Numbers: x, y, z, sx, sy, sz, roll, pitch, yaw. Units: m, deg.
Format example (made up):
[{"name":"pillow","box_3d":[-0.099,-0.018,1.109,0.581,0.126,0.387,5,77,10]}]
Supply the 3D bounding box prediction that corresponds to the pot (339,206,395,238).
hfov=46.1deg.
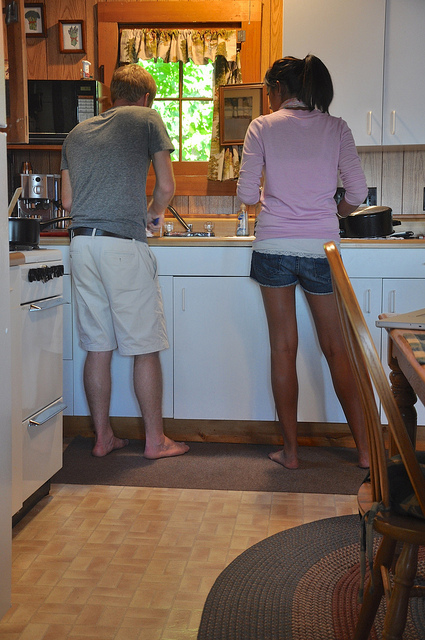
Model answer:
[{"name":"pot","box_3d":[0.740,-0.456,2.403,0.258,0.166,0.228,0,9,-7]}]

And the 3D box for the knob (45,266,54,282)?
[{"name":"knob","box_3d":[-0.530,-0.153,1.626,0.014,0.039,0.031,18,12,41]}]

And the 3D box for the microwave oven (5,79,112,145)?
[{"name":"microwave oven","box_3d":[-0.873,-1.278,3.013,0.468,0.420,0.206,0,2,5]}]

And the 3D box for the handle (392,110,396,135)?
[{"name":"handle","box_3d":[0.996,-1.095,2.768,0.016,0.119,0.028,0,1,17]}]

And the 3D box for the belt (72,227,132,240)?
[{"name":"belt","box_3d":[-0.454,-0.351,2.009,0.253,0.051,0.052,0,2,11]}]

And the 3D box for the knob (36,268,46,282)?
[{"name":"knob","box_3d":[-0.532,-0.143,1.549,0.025,0.042,0.010,4,-7,-10]}]

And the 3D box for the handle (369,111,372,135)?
[{"name":"handle","box_3d":[0.874,-1.102,2.787,0.016,0.116,0.016,0,1,6]}]

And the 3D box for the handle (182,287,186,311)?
[{"name":"handle","box_3d":[-0.139,-0.098,2.326,0.009,0.105,0.009,0,1,12]}]

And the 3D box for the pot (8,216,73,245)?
[{"name":"pot","box_3d":[-0.612,-0.301,1.750,0.211,0.142,0.182,1,8,4]}]

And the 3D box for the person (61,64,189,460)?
[{"name":"person","box_3d":[-0.370,-0.139,2.152,0.518,1.466,0.349,-1,1,-18]}]

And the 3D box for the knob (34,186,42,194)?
[{"name":"knob","box_3d":[-0.991,-0.743,2.844,0.028,0.040,0.014,-2,9,-2]}]

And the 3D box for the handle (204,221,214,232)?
[{"name":"handle","box_3d":[-0.025,-0.535,2.826,0.061,0.065,0.068,-1,17,-7]}]

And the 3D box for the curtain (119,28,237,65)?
[{"name":"curtain","box_3d":[-0.216,-1.703,2.957,0.892,0.210,0.276,2,11,1]}]

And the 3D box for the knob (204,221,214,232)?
[{"name":"knob","box_3d":[-0.023,-0.527,2.826,0.053,0.060,0.062,-1,1,-2]}]

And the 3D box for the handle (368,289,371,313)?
[{"name":"handle","box_3d":[0.696,-0.087,2.240,0.011,0.104,0.016,0,1,17]}]
